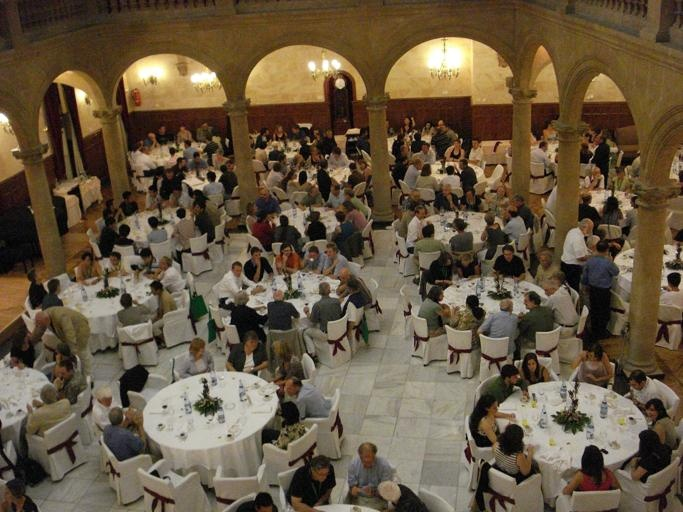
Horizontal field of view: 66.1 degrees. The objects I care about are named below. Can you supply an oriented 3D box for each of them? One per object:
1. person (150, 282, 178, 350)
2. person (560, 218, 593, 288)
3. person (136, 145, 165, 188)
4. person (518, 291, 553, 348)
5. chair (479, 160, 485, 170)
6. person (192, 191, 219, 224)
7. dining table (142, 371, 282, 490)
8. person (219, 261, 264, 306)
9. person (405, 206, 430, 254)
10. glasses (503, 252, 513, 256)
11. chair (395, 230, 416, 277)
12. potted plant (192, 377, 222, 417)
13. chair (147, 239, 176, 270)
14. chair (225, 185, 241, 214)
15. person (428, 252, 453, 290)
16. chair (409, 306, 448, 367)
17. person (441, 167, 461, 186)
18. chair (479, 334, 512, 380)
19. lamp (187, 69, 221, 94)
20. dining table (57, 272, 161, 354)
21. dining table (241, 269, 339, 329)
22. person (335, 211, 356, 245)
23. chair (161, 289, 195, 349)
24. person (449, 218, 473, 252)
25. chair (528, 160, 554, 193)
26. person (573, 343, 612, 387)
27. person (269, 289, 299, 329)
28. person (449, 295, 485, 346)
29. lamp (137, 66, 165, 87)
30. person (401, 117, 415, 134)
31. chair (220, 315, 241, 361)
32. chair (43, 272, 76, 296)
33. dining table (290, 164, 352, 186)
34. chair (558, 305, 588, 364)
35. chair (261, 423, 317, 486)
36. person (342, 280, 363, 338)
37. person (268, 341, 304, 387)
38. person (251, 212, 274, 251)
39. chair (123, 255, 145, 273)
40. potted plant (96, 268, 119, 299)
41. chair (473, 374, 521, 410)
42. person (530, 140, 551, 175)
[{"bbox_3d":[-3.396,1.089,10.036,0.462,1.289,0.323,-8,11,-20],"label":"person"},{"bbox_3d":[4.565,-0.012,10.135,0.455,1.386,0.521,-18,42,-9],"label":"person"},{"bbox_3d":[-6.585,-3.067,17.936,0.863,1.448,1.920,-8,12,-22],"label":"person"},{"bbox_3d":[3.177,1.088,8.569,0.368,0.947,0.529,-20,38,-6],"label":"person"},{"bbox_3d":[4.327,-2.768,15.988,0.196,0.280,0.212,5,11,42],"label":"chair"},{"bbox_3d":[-3.722,-1.338,14.590,0.631,0.938,0.921,6,-1,-5],"label":"person"},{"bbox_3d":[-1.791,2.276,7.283,1.481,0.596,1.552,20,43,20],"label":"dining table"},{"bbox_3d":[-1.997,0.632,10.195,0.847,1.069,0.552,3,26,3],"label":"person"},{"bbox_3d":[1.635,-0.529,11.337,0.301,0.983,0.392,1,58,4],"label":"person"},{"bbox_3d":[3.108,-0.015,9.798,0.143,0.053,0.086,3,13,33],"label":"glasses"},{"bbox_3d":[1.472,-0.044,11.879,0.594,0.925,0.587,-8,30,-9],"label":"chair"},{"bbox_3d":[-1.872,2.017,7.469,0.391,0.457,0.437,-6,33,-4],"label":"potted plant"},{"bbox_3d":[-3.995,-0.025,11.534,0.406,0.559,0.421,-9,38,-18],"label":"chair"},{"bbox_3d":[-3.187,-1.560,15.304,0.436,0.862,0.676,-7,11,-14],"label":"chair"},{"bbox_3d":[1.951,0.355,10.073,0.375,0.849,0.452,-3,20,-14],"label":"person"},{"bbox_3d":[1.565,1.441,9.266,0.570,0.847,0.533,-19,39,-13],"label":"chair"},{"bbox_3d":[2.982,-2.144,14.206,0.497,0.555,0.774,-1,11,16],"label":"person"},{"bbox_3d":[2.504,1.612,8.695,0.460,0.830,0.566,5,31,11],"label":"chair"},{"bbox_3d":[-5.418,-6.947,20.809,1.065,0.829,1.093,-7,11,-16],"label":"lamp"},{"bbox_3d":[-4.719,0.879,10.264,1.517,0.588,1.471,-33,57,-32],"label":"dining table"},{"bbox_3d":[-0.824,1.006,9.622,1.226,0.730,1.715,8,-19,-16],"label":"dining table"},{"bbox_3d":[0.070,-0.616,11.919,0.507,0.789,0.327,-5,11,-7],"label":"person"},{"bbox_3d":[-3.364,1.211,10.508,0.778,1.364,0.998,3,0,-24],"label":"chair"},{"bbox_3d":[2.538,-0.292,11.143,0.467,1.079,0.576,-5,39,6],"label":"person"},{"bbox_3d":[6.005,-2.486,15.860,0.754,1.099,0.610,-29,33,-25],"label":"chair"},{"bbox_3d":[3.679,1.759,7.711,0.526,1.103,0.411,-3,29,22],"label":"person"},{"bbox_3d":[-1.009,0.970,9.187,0.388,0.864,0.509,0,51,-2],"label":"person"},{"bbox_3d":[2.110,1.127,8.761,0.420,0.961,0.546,-8,47,-2],"label":"person"},{"bbox_3d":[-7.695,-7.219,21.141,1.063,0.777,0.379,-1,11,18],"label":"lamp"},{"bbox_3d":[2.544,-4.949,19.868,0.543,0.677,2.174,-2,11,8],"label":"person"},{"bbox_3d":[-1.920,1.497,9.225,0.335,0.535,0.310,-5,-19,37],"label":"chair"},{"bbox_3d":[-5.734,0.593,10.680,0.262,0.349,0.249,16,37,36],"label":"chair"},{"bbox_3d":[-0.571,-2.282,15.083,0.927,0.258,1.004,-1,32,4],"label":"dining table"},{"bbox_3d":[3.906,1.265,9.013,0.456,0.819,0.523,7,30,23],"label":"chair"},{"bbox_3d":[-0.665,2.544,6.686,0.447,0.682,0.504,31,41,30],"label":"chair"},{"bbox_3d":[0.200,0.890,9.683,0.388,1.290,0.403,-8,25,-21],"label":"person"},{"bbox_3d":[-0.851,1.706,8.056,0.500,0.803,0.425,-13,14,-26],"label":"person"},{"bbox_3d":[-1.872,-0.594,12.410,0.592,0.913,0.495,7,23,11],"label":"person"},{"bbox_3d":[-4.557,0.195,11.451,0.330,0.383,0.416,-2,-1,-9],"label":"chair"},{"bbox_3d":[-4.640,0.605,10.473,0.445,0.525,0.473,-3,22,-12],"label":"potted plant"},{"bbox_3d":[2.225,1.882,7.306,0.523,0.749,0.449,7,60,6],"label":"chair"},{"bbox_3d":[5.991,-2.940,15.759,0.506,0.938,0.869,0,12,21],"label":"person"}]
